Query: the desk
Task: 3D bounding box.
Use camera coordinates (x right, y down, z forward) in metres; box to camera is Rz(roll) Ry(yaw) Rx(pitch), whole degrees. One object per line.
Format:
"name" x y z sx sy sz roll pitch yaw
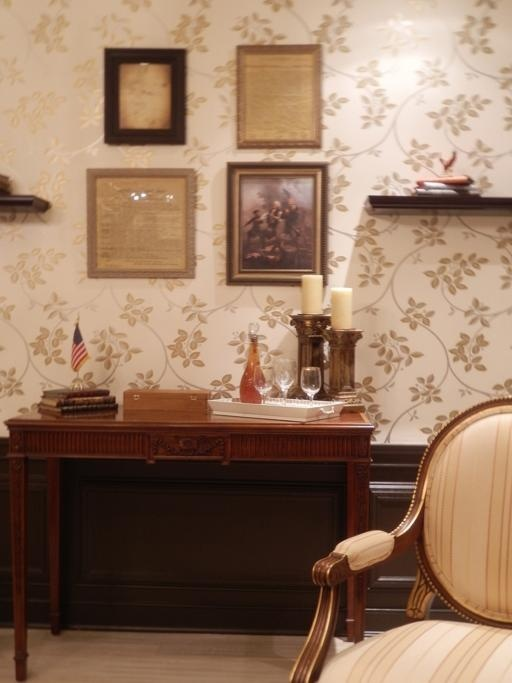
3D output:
"desk" -0.189 0.707 2.734 1.078 0.671 0.413 0 -4 2

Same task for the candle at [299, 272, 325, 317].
"candle" 0.206 -0.170 2.821 0.068 0.141 0.123 1 7 8

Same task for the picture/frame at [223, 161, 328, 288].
"picture/frame" 0.086 -0.459 2.936 0.583 0.594 0.043 0 2 0

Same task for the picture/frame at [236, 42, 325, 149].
"picture/frame" 0.102 -0.939 2.921 0.469 0.445 0.034 0 2 2

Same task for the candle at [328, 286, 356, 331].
"candle" 0.299 -0.113 2.728 0.066 0.138 0.034 0 8 5

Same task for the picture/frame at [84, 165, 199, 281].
"picture/frame" -0.421 -0.470 2.962 0.516 0.439 0.036 0 4 3

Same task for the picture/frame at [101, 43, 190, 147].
"picture/frame" -0.409 -0.946 2.938 0.448 0.427 0.041 0 2 3

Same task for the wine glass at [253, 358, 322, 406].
"wine glass" 0.116 0.144 2.690 0.183 0.125 0.053 0 -6 4

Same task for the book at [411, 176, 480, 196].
"book" 0.695 -0.561 2.835 0.216 0.076 0.184 1 6 10
